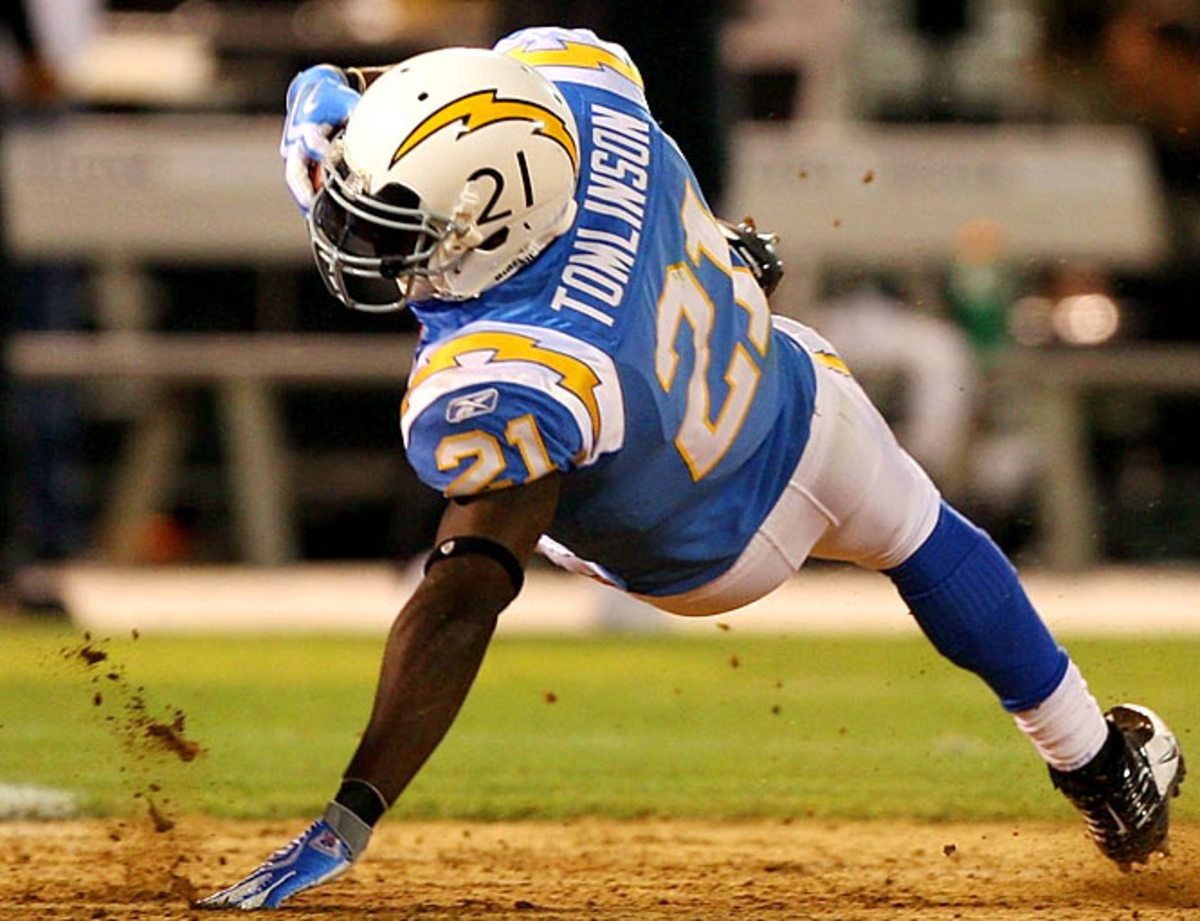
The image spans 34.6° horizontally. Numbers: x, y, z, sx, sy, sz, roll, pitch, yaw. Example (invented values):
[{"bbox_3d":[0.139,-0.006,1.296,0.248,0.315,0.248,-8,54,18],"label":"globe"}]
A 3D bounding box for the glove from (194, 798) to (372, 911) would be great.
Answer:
[{"bbox_3d":[-0.697,0.947,4.691,0.540,0.195,0.169,-18,-1,18],"label":"glove"}]
